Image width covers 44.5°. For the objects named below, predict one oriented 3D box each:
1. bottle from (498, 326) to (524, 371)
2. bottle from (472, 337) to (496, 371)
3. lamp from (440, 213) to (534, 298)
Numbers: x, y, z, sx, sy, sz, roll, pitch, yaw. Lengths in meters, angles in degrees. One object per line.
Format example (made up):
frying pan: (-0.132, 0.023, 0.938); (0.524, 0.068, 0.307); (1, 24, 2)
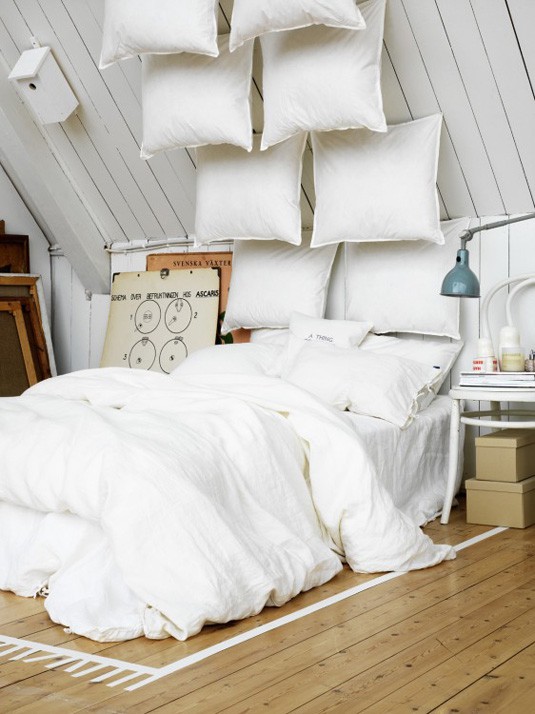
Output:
bottle: (1.011, -0.030, 2.715); (0.095, 0.185, 0.095); (-1, -3, 0)
bottle: (0.913, -0.001, 2.757); (0.087, 0.142, 0.178); (-2, -4, 19)
lamp: (0.979, -0.453, 2.882); (0.340, 0.420, 0.525); (-3, -4, 29)
